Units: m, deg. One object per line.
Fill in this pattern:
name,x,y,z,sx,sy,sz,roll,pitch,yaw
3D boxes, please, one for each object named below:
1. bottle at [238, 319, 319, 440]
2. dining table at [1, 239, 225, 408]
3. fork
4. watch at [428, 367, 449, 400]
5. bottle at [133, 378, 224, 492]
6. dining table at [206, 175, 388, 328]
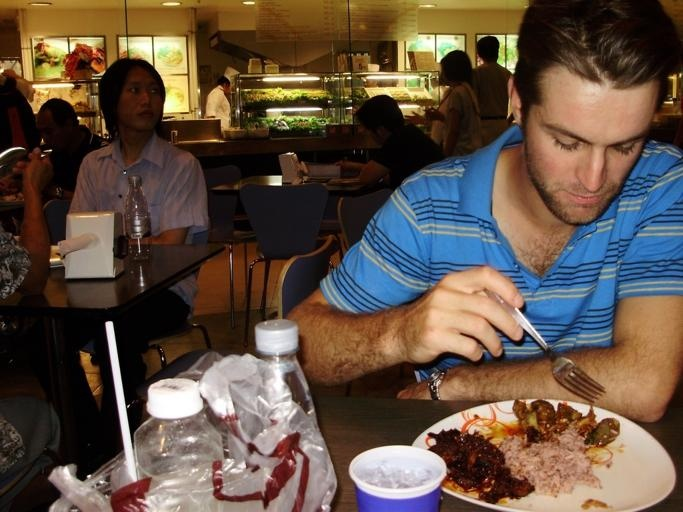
bottle,-0.081,0.176,0.792,0.078,0.193,0.098,-5,18,-6
dining table,-0.751,0.092,2.019,0.662,0.647,0.653,-4,15,-19
fork,0.468,0.204,1.252,0.334,0.045,0.037,45,28,5
watch,0.228,0.316,1.311,0.040,0.067,0.064,2,-1,31
bottle,-0.223,0.226,0.777,0.121,0.140,0.126,7,13,37
dining table,-0.482,0.006,4.513,1.415,1.372,1.232,0,18,5
